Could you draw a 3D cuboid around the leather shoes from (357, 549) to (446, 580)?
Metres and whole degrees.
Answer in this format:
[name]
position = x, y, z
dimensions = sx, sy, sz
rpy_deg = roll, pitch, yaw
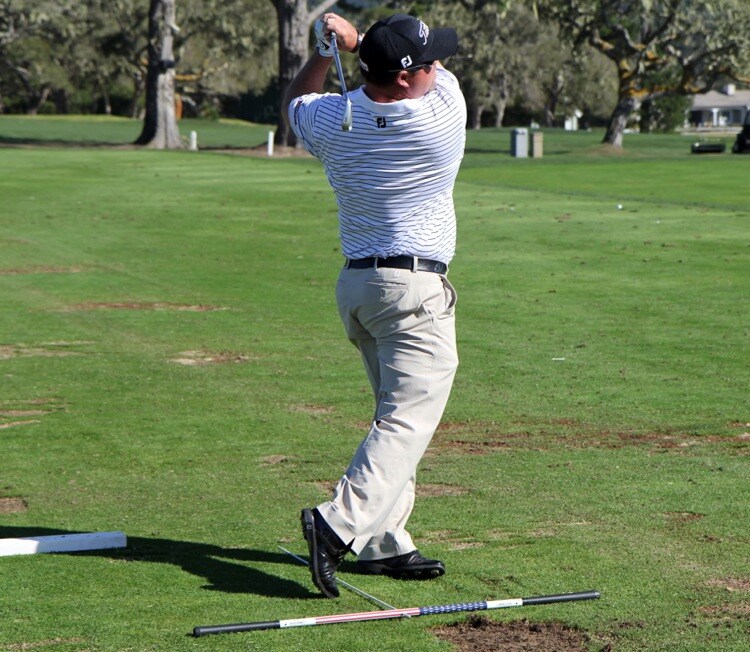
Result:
[leather shoes]
position = 0.192, 1.468, 9.808
dimensions = 0.574, 0.207, 0.186
rpy_deg = 1, 4, 9

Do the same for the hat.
[hat]
position = 0.162, -1.742, 9.493
dimensions = 0.643, 0.285, 0.384
rpy_deg = -20, 39, -13

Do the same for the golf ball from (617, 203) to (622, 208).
[golf ball]
position = 3.779, -1.848, 24.574
dimensions = 0.103, 0.029, 0.095
rpy_deg = 1, 12, 0

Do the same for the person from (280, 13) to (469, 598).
[person]
position = 0.036, -0.116, 9.601
dimensions = 0.967, 3.487, 0.708
rpy_deg = 3, 7, -3
